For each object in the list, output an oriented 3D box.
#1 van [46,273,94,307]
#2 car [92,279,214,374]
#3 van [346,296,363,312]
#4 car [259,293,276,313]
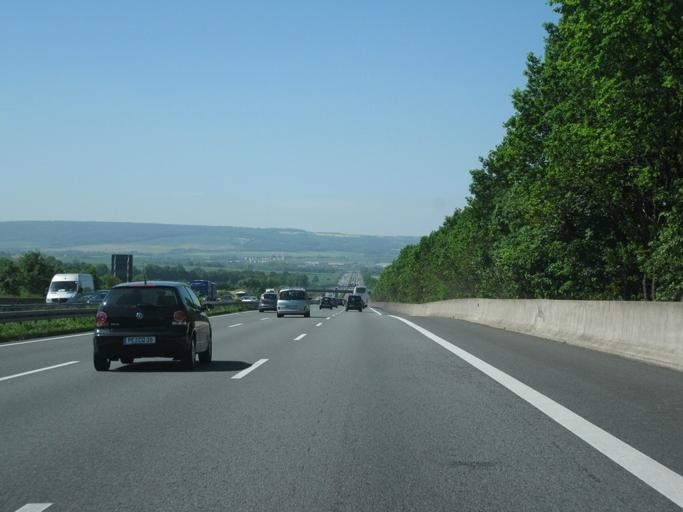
[{"bbox_3d":[-21.816,2.675,52.719,1.963,2.106,3.886,-1,-6,-3],"label":"van"},{"bbox_3d":[-3.581,1.412,13.383,1.353,1.259,2.501,-1,-1,4],"label":"car"},{"bbox_3d":[1.001,3.874,54.402,1.342,1.347,2.132,-1,0,-5],"label":"van"},{"bbox_3d":[-5.218,3.288,46.773,0.832,0.874,1.623,0,2,1],"label":"car"}]
